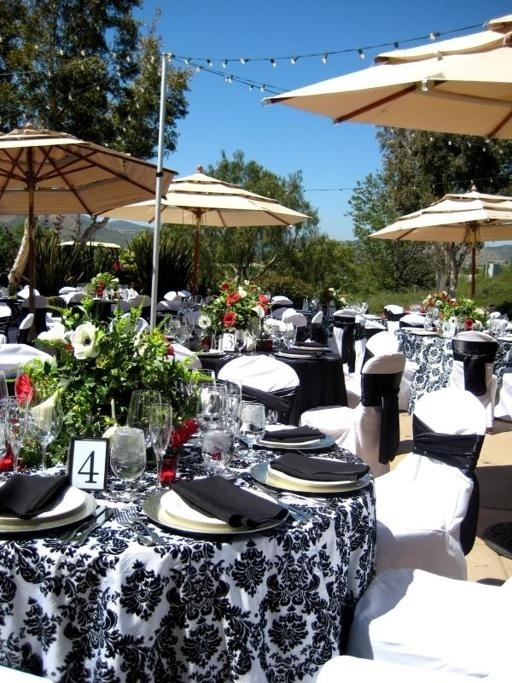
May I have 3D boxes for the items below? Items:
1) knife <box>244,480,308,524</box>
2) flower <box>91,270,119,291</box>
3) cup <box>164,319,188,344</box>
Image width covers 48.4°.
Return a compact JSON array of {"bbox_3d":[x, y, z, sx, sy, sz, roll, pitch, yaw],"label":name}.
[{"bbox_3d":[0.048,0.394,1.453,0.054,0.033,0.310,-17,3,-18],"label":"knife"},{"bbox_3d":[-2.544,-1.003,9.428,0.431,0.254,0.426,-2,5,-32],"label":"flower"},{"bbox_3d":[-0.557,-0.072,3.957,0.205,0.229,0.227,0,1,-18],"label":"cup"}]
